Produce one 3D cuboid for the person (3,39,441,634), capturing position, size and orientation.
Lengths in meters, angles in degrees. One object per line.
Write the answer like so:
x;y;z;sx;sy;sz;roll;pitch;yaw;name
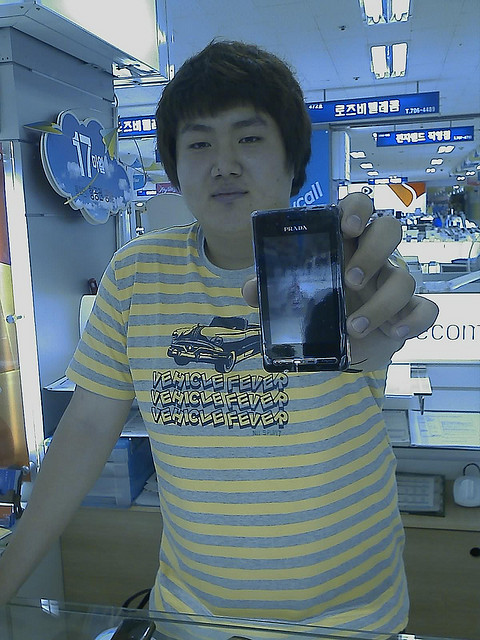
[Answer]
-0.023;0.034;0.887;0.612;0.950;0.446;1;6;16;person
